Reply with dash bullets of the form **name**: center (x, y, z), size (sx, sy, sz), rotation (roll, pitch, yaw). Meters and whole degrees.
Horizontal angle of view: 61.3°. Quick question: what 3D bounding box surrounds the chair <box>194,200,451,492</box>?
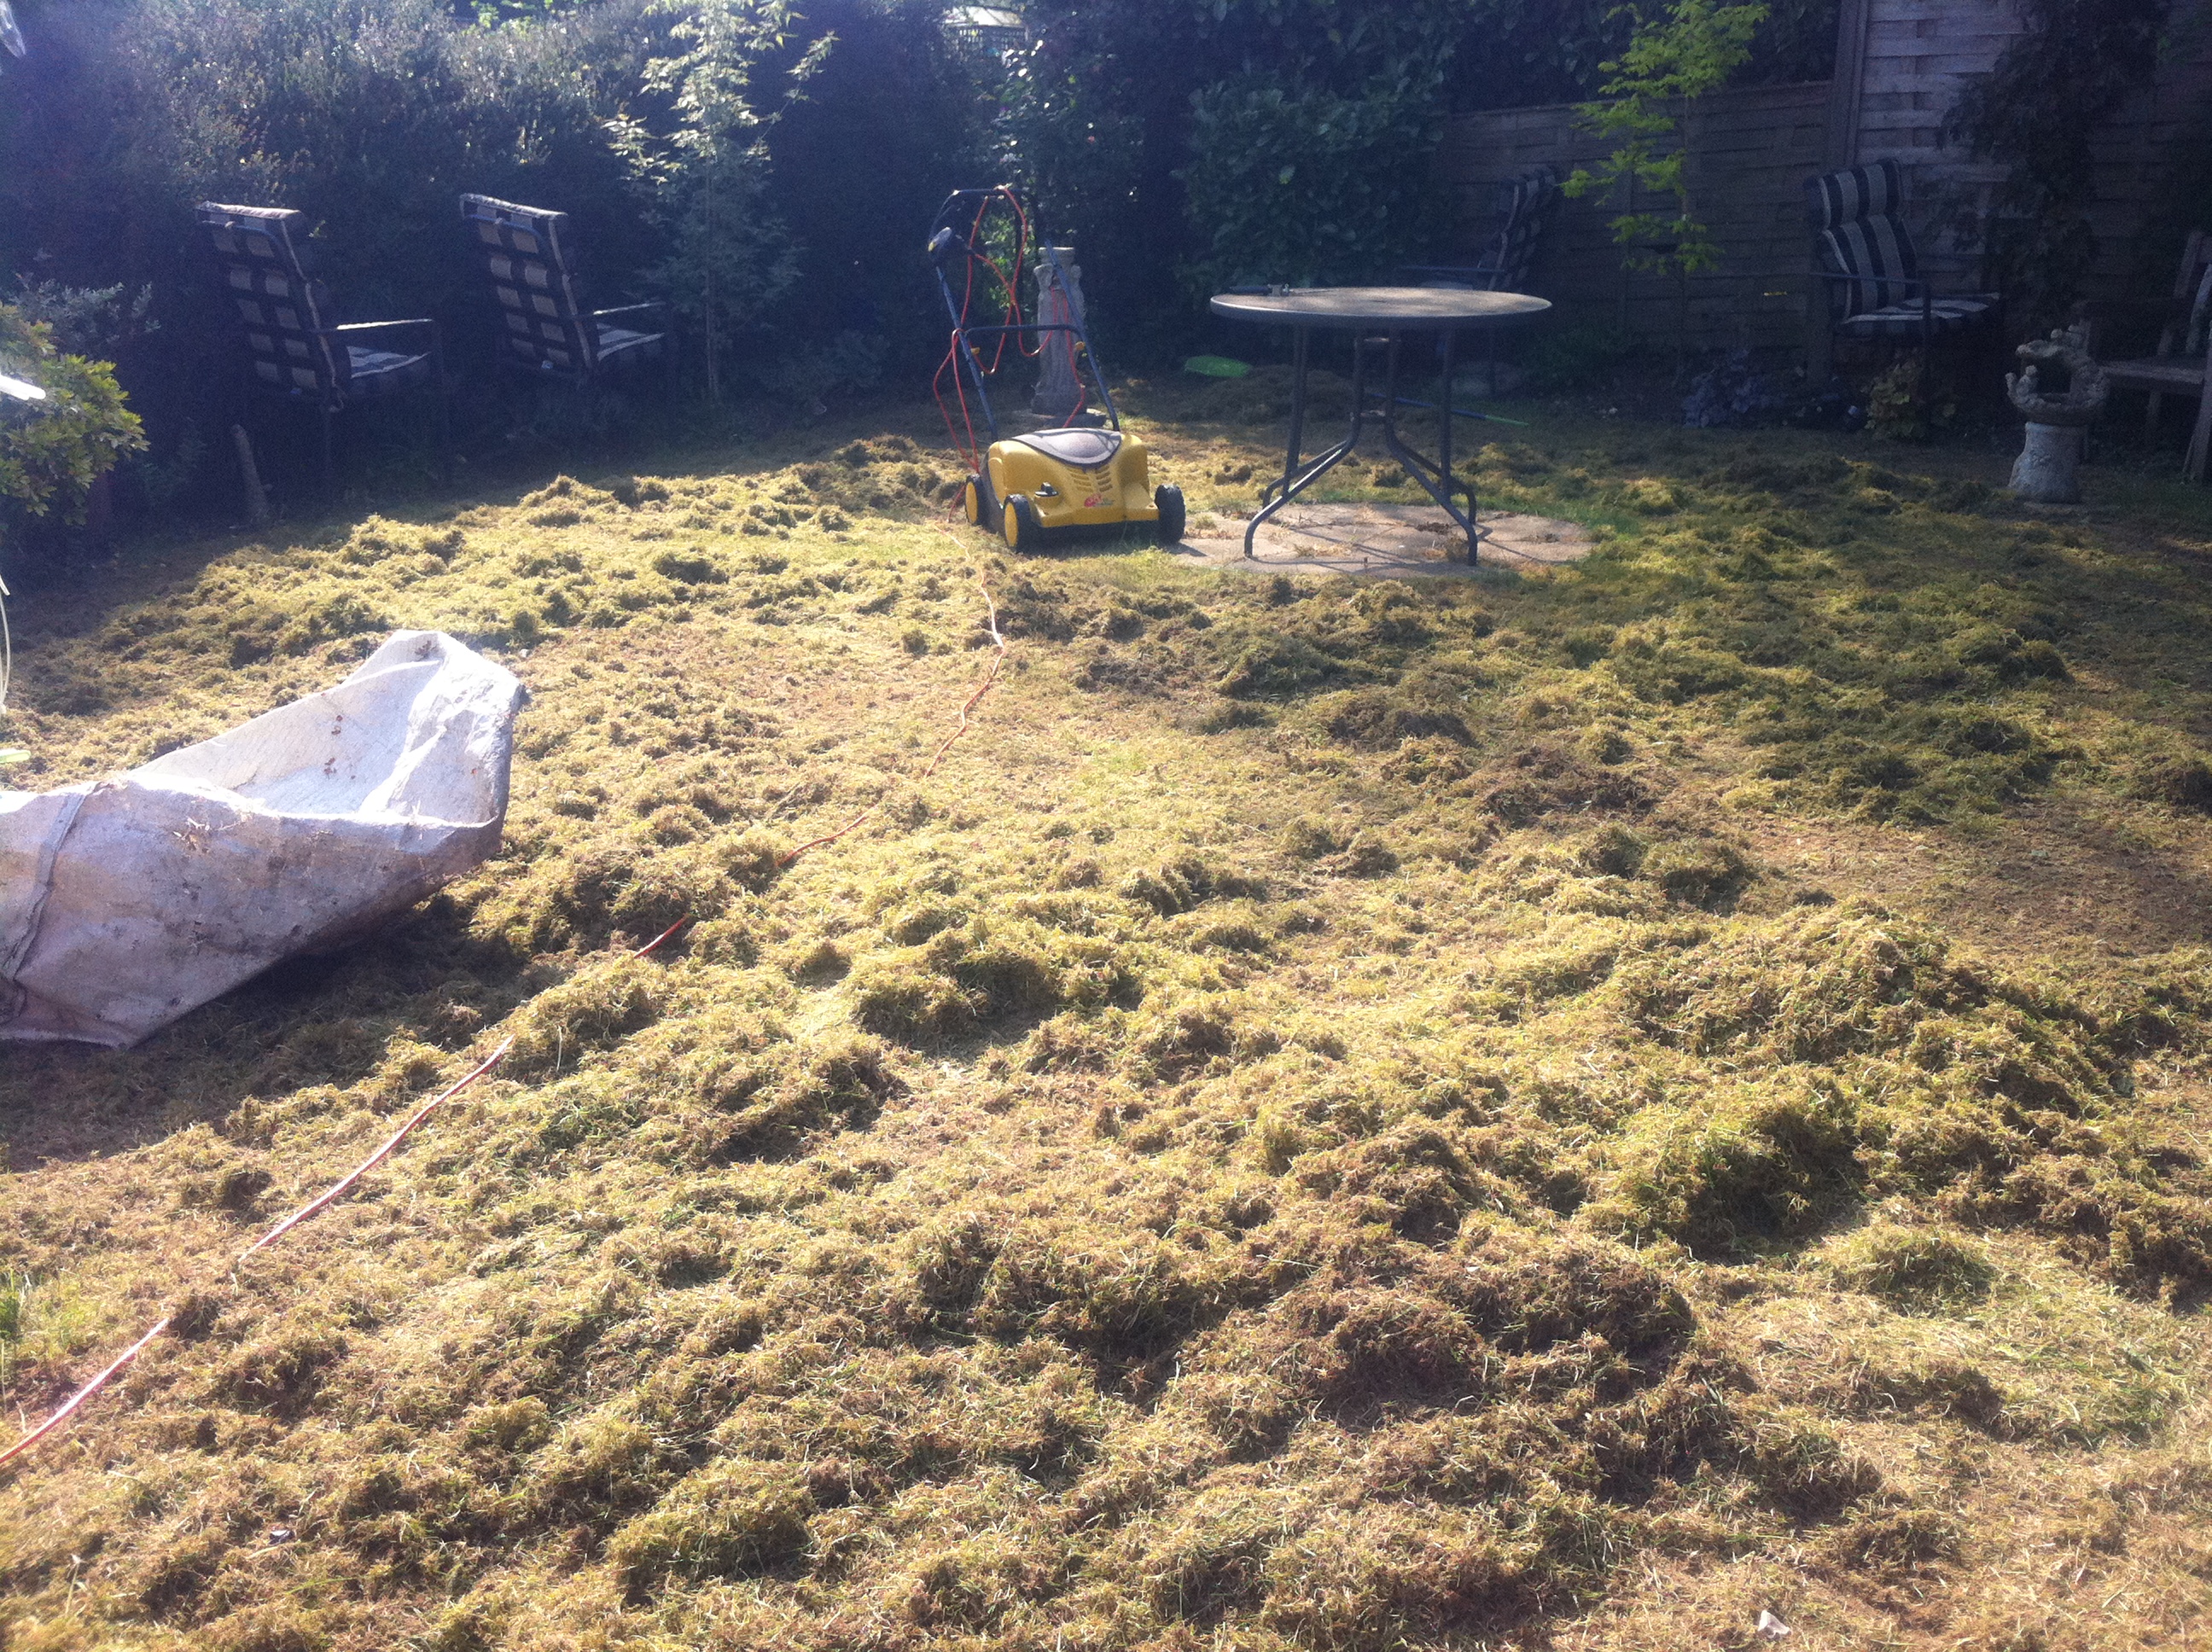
- **chair**: center (-4.442, -2.711, 10.509), size (0.952, 1.563, 0.751), rotation (17, 30, 41)

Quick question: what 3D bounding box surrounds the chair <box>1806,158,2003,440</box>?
- **chair**: center (4.852, -3.273, 11.402), size (0.893, 1.410, 0.755), rotation (-20, 19, -31)

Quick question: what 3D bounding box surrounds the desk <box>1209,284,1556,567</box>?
- **desk**: center (1.652, -3.169, 12.092), size (1.732, 1.602, 7.034), rotation (-1, 26, 7)

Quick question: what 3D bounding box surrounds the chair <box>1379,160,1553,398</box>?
- **chair**: center (2.739, -4.063, 13.703), size (0.898, 1.132, 1.767), rotation (2, 34, 21)
